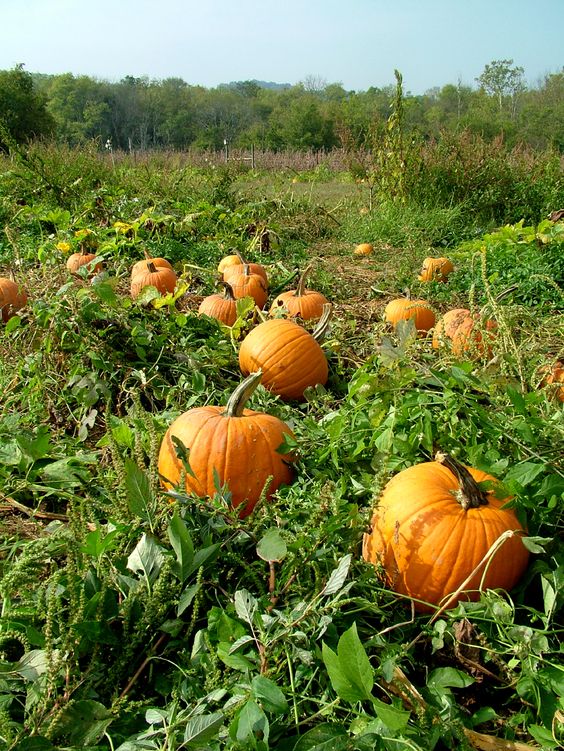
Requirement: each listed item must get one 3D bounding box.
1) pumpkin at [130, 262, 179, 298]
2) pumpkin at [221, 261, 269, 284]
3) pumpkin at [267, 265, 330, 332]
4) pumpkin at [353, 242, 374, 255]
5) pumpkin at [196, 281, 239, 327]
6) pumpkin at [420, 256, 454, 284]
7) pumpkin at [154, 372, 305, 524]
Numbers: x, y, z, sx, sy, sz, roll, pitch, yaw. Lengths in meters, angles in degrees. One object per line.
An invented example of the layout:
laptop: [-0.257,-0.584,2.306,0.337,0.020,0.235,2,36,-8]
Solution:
pumpkin: [-0.878,-0.646,4.253,0.319,0.282,0.301,-3,34,-4]
pumpkin: [-0.284,-0.733,4.651,0.235,0.198,0.224,-1,-2,-3]
pumpkin: [0.099,-0.528,3.999,0.417,0.515,0.397,-3,19,-19]
pumpkin: [0.931,-1.437,7.220,0.193,0.164,0.181,0,25,-13]
pumpkin: [-0.411,-0.450,3.953,0.233,0.255,0.286,-11,17,-17]
pumpkin: [1.421,-0.972,5.791,0.279,0.233,0.269,1,1,2]
pumpkin: [-0.198,0.259,2.219,0.514,0.617,0.500,9,4,-17]
